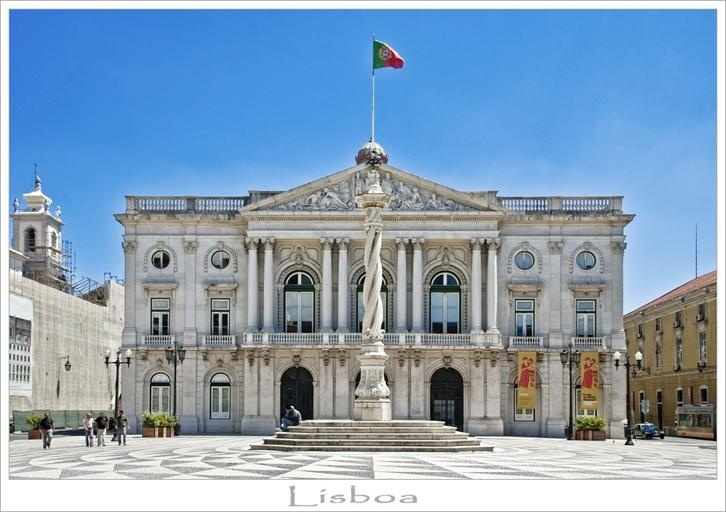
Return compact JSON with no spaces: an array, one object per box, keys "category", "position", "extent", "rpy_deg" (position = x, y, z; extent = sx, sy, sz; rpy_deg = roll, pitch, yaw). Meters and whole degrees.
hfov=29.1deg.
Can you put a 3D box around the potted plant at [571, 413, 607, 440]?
[{"category":"potted plant","position":[15.139,11.906,94.998],"extent":[1.146,1.742,2.959],"rpy_deg":[11,-19,-37]}]

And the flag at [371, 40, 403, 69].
[{"category":"flag","position":[1.412,-12.725,90.024],"extent":[1.527,2.040,1.579],"rpy_deg":[-3,-15,9]}]
